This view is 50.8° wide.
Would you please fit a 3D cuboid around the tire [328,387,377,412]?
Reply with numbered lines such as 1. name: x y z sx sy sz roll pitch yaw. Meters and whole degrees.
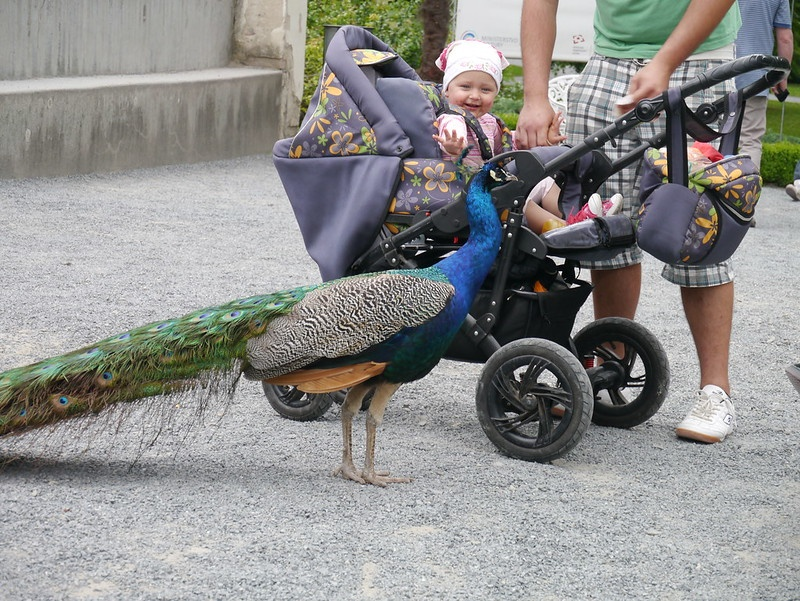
1. tire: -0.181 0.520 4.298 0.168 0.161 0.166 4 28 17

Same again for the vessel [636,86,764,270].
1. vessel: 1.349 -0.548 3.840 0.515 0.762 0.192 -3 16 -17

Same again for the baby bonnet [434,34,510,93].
1. baby bonnet: 0.438 -1.333 4.647 0.332 0.254 0.307 3 25 -8

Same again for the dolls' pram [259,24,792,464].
1. dolls' pram: 0.796 -0.367 4.869 2.392 2.392 1.526 4 10 21

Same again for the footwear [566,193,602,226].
1. footwear: 0.887 -0.429 4.046 0.155 0.143 0.448 4 15 7

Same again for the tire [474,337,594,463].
1. tire: 0.607 0.458 3.817 0.523 0.538 0.161 8 10 28
